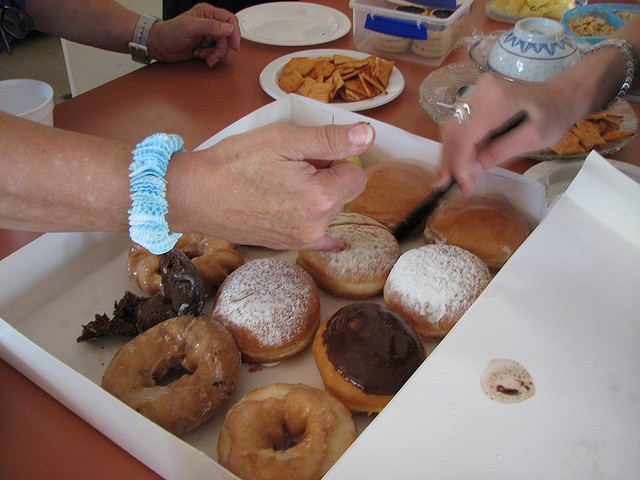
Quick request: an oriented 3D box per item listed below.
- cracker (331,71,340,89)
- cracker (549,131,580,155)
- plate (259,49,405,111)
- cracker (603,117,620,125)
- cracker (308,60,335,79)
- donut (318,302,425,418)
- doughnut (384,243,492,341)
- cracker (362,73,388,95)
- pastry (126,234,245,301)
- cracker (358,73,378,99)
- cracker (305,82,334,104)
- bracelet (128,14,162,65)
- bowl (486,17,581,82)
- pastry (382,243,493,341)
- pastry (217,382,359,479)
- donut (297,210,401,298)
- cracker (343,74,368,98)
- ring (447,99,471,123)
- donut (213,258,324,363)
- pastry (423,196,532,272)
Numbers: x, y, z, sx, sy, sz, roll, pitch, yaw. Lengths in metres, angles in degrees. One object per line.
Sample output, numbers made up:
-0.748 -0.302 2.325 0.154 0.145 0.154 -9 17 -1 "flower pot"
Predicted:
0.035 -0.373 1.245 0.007 0.027 0.031 9 57 -36 "cracker"
0.380 -0.153 0.826 0.042 0.046 0.016 -3 63 11 "cracker"
0.026 -0.388 1.290 0.230 0.034 0.254 -9 42 -12 "plate"
0.536 -0.218 0.990 0.023 0.009 0.023 -15 25 -24 "cracker"
0.002 -0.414 1.298 0.047 0.016 0.050 15 67 16 "cracker"
0.062 0.154 0.756 0.151 0.094 0.134 30 58 13 "donut"
0.165 0.065 0.856 0.155 0.080 0.160 39 56 19 "doughnut"
0.118 -0.350 1.243 0.049 0.050 0.013 38 93 16 "cracker"
-0.236 0.034 0.932 0.189 0.112 0.146 -17 29 -30 "pastry"
0.111 -0.351 1.242 0.015 0.054 0.054 -42 37 -3 "cracker"
-0.002 -0.337 1.226 0.053 0.025 0.074 18 57 5 "cracker"
-0.469 -0.533 1.434 0.062 0.116 0.119 15 44 -10 "bracelet"
0.357 -0.324 0.898 0.133 0.065 0.150 8 45 7 "bowl"
0.170 0.071 0.810 0.138 0.072 0.142 -33 47 -10 "pastry"
-0.041 0.255 0.709 0.181 0.075 0.142 11 56 0 "pastry"
0.053 0.031 0.960 0.167 0.098 0.179 23 33 36 "donut"
0.082 -0.360 1.248 0.052 0.018 0.055 -28 76 -17 "cracker"
0.210 -0.202 0.812 0.034 0.011 0.064 -26 24 14 "ring"
-0.084 0.110 0.888 0.166 0.094 0.192 2 42 2 "donut"
0.246 -0.016 0.846 0.162 0.104 0.125 8 24 14 "pastry"
